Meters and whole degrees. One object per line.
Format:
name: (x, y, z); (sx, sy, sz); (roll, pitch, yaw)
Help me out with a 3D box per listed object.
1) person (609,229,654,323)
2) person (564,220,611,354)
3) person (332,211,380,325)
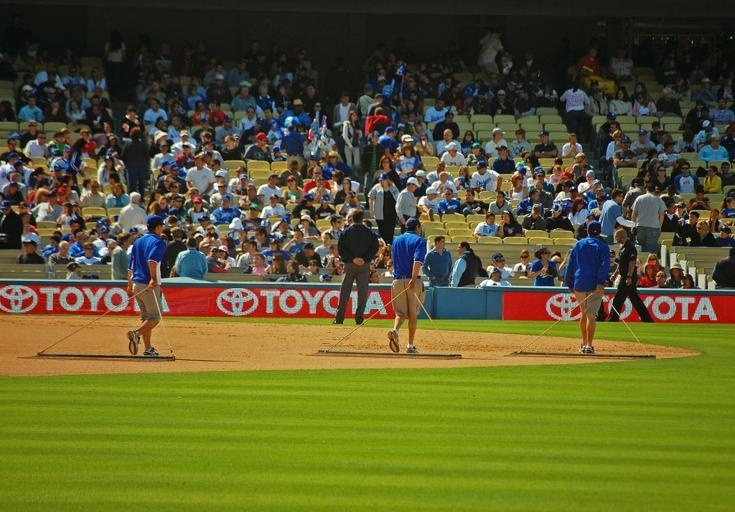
person: (6.630, 0.515, 46.553); (0.889, 2.376, 1.010); (4, 12, 18)
person: (5.121, 0.761, 43.024); (0.989, 3.047, 0.482); (2, 6, 7)
person: (-0.264, 0.303, 45.324); (0.986, 2.820, 0.694); (1, 6, -2)
